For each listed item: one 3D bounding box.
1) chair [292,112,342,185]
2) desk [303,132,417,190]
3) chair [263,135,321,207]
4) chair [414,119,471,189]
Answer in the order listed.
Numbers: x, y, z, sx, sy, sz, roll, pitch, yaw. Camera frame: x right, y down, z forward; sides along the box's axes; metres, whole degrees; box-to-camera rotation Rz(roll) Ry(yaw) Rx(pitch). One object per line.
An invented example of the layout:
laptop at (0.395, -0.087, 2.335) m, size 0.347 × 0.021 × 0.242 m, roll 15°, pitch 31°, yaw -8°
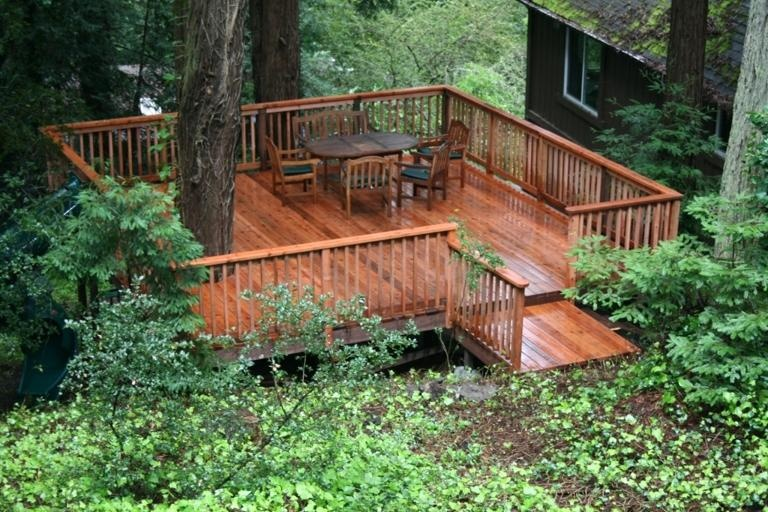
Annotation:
chair at (-1.343, -2.144, 14.805) m, size 1.057 × 1.470 × 1.003 m, roll -14°, pitch 38°, yaw -18°
desk at (-0.397, -1.702, 14.604) m, size 1.458 × 0.367 × 0.891 m, roll -10°, pitch 37°, yaw -13°
chair at (-1.745, -1.701, 14.246) m, size 0.911 × 1.264 × 1.053 m, roll -6°, pitch 25°, yaw -9°
chair at (1.259, -2.058, 15.065) m, size 0.910 × 1.331 × 1.023 m, roll -10°, pitch 41°, yaw -12°
